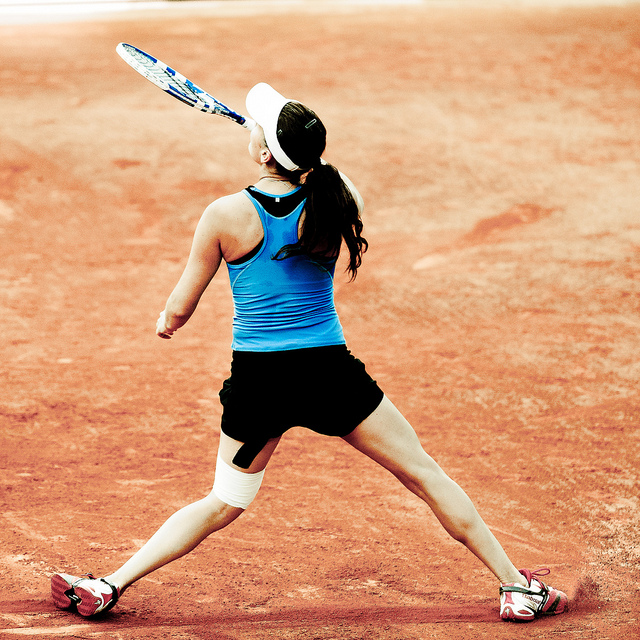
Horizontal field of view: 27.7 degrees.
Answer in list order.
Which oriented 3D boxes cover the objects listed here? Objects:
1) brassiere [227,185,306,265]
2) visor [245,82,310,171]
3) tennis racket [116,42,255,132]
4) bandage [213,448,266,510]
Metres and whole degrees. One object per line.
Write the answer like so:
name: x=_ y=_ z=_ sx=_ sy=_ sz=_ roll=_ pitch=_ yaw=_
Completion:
brassiere: x=-0.313 y=-0.536 z=7.192 sx=0.455 sy=0.391 sz=0.208 roll=-18 pitch=35 yaw=-24
visor: x=-0.252 y=-1.086 z=7.215 sx=0.250 sy=0.415 sz=0.452 roll=-15 pitch=33 yaw=-18
tennis racket: x=-0.788 y=-1.356 z=7.630 sx=1.091 sy=0.429 sz=0.383 roll=21 pitch=38 yaw=34
bandage: x=-0.441 y=0.881 z=7.474 sx=0.285 sy=0.320 sz=0.431 roll=0 pitch=23 yaw=0
